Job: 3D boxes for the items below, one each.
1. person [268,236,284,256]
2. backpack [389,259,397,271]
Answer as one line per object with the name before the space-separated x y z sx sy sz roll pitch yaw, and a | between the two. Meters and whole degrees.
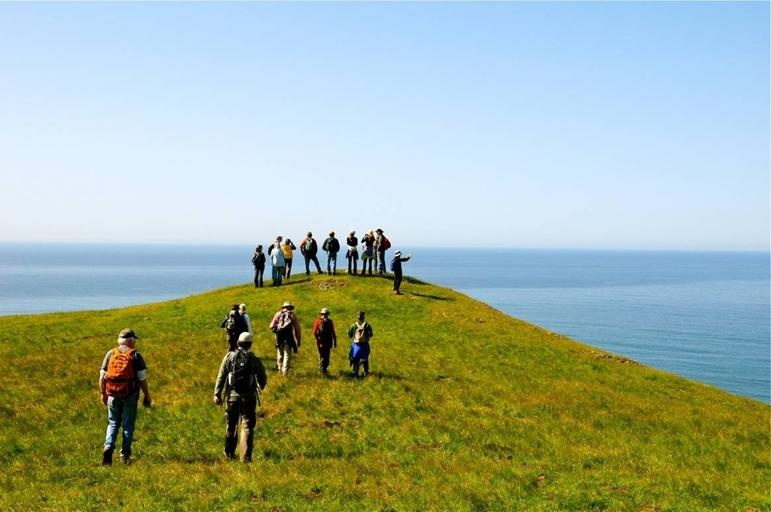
person | -8.121 -0.609 56.320 0.753 1.463 0.848 9 26 -18
backpack | 0.784 0.763 64.294 0.449 1.079 0.731 -2 4 -28
